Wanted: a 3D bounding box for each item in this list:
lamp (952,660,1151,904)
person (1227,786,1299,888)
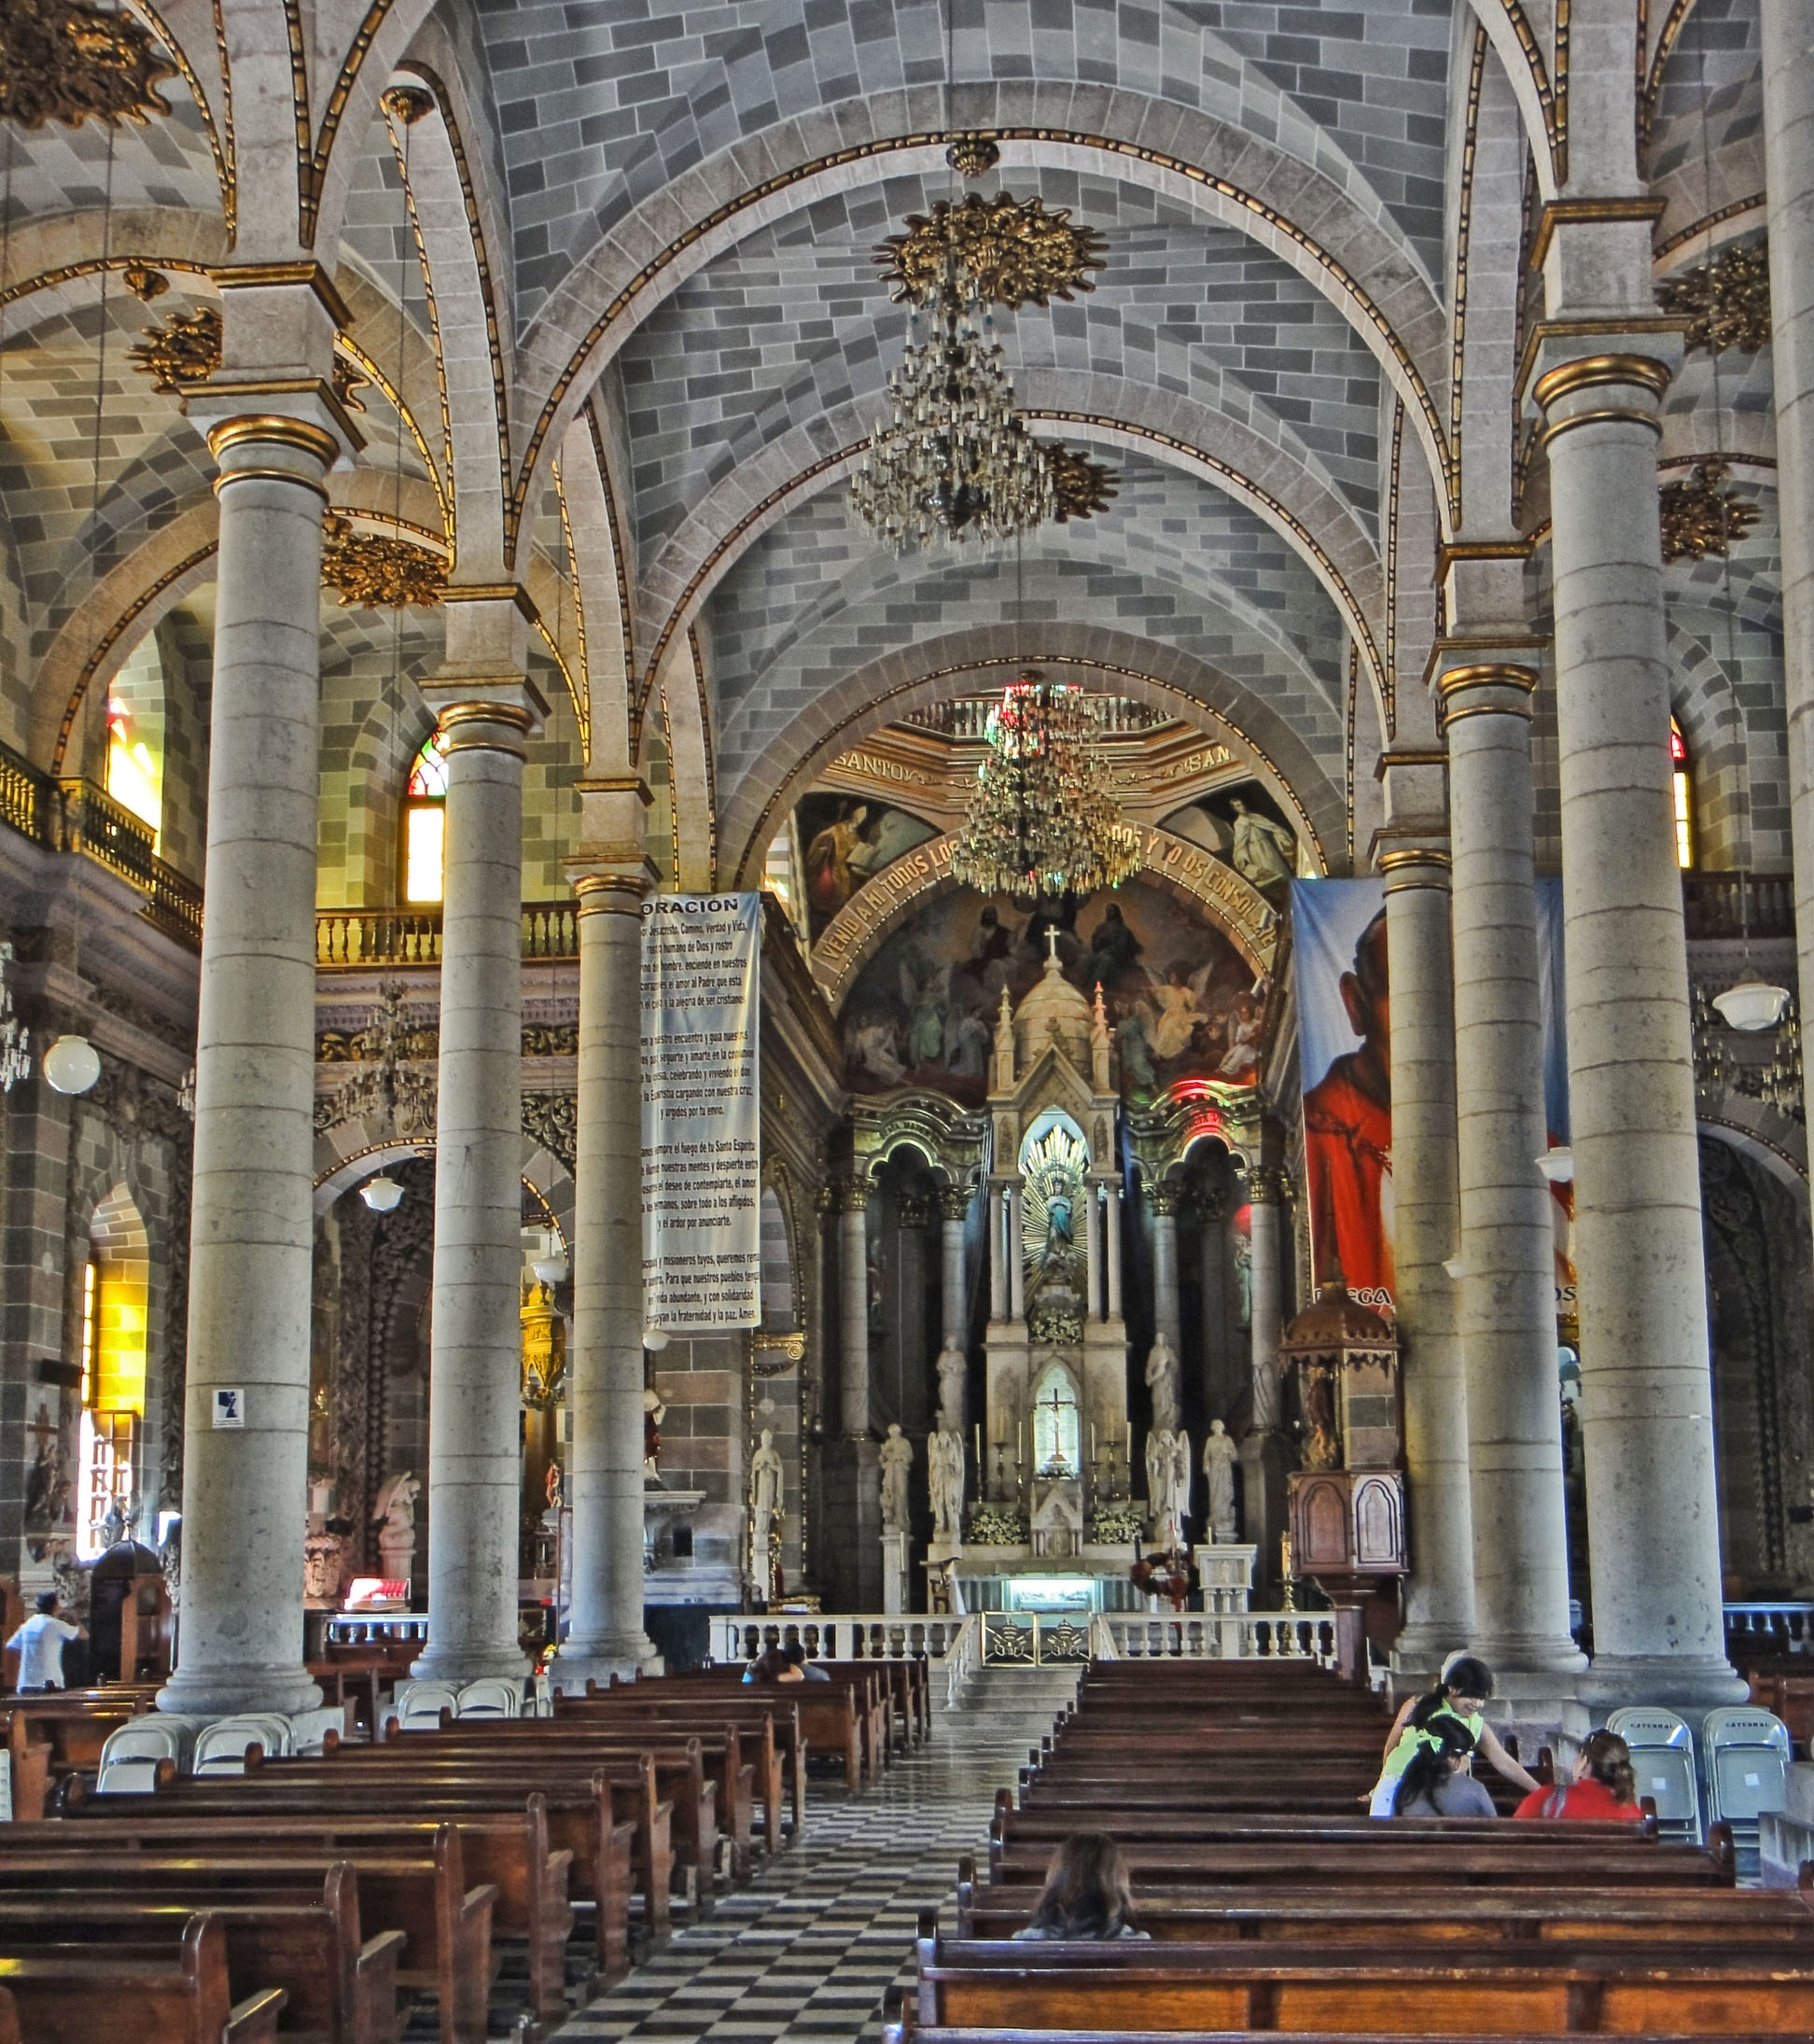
[{"bbox_3d":[1.229,-2.383,27.017,1.555,2.082,1.675,-2,-15,-1],"label":"lamp"},{"bbox_3d":[4.306,-2.109,34.849,0.648,1.202,0.830,-2,-15,0],"label":"person"}]
